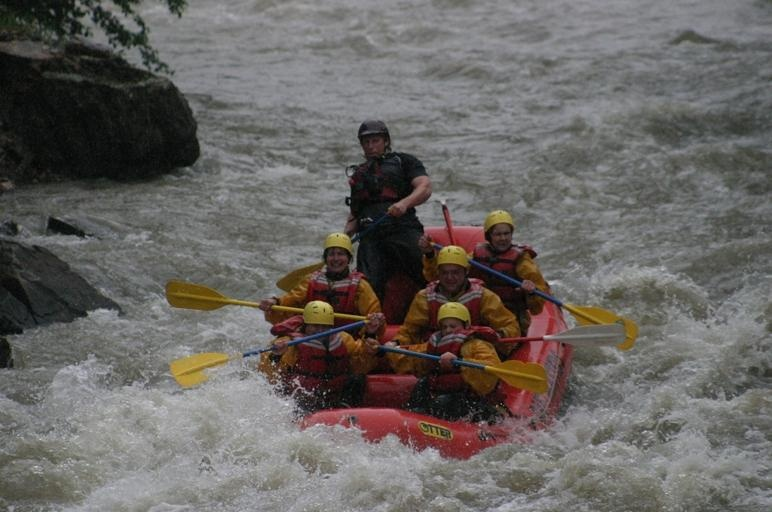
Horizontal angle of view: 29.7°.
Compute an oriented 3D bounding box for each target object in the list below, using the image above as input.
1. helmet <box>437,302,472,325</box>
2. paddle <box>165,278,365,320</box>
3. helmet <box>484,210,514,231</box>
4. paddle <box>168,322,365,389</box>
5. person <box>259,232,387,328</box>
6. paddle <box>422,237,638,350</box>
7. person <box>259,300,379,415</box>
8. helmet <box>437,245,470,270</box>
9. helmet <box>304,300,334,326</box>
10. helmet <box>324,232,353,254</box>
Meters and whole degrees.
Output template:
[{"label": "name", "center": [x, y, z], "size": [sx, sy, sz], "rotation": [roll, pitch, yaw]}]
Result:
[{"label": "helmet", "center": [0.867, 0.730, 17.711], "size": [0.353, 0.250, 0.250], "rotation": [-20, 46, 38]}, {"label": "paddle", "center": [-1.569, 0.715, 19.253], "size": [3.600, 0.138, 0.487], "rotation": [13, 24, -47]}, {"label": "helmet", "center": [1.422, -0.402, 18.575], "size": [0.292, 0.338, 0.282], "rotation": [-2, 51, -7]}, {"label": "paddle", "center": [-1.439, 1.313, 18.029], "size": [2.890, 0.432, 0.192], "rotation": [-12, -10, -7]}, {"label": "person", "center": [-0.786, 0.388, 18.700], "size": [1.199, 0.857, 1.398], "rotation": [4, 71, 16]}, {"label": "paddle", "center": [1.795, 0.576, 18.653], "size": [2.946, 0.318, 0.482], "rotation": [21, 43, 5]}, {"label": "person", "center": [-0.794, 1.325, 17.689], "size": [1.256, 0.819, 1.316], "rotation": [-2, 50, -21]}, {"label": "helmet", "center": [0.822, 0.017, 18.043], "size": [0.276, 0.345, 0.251], "rotation": [1, 42, 10]}, {"label": "helmet", "center": [-0.804, 0.718, 17.642], "size": [0.267, 0.336, 0.240], "rotation": [8, 42, -13]}, {"label": "helmet", "center": [-0.585, -0.151, 18.253], "size": [0.247, 0.308, 0.253], "rotation": [-1, 5, 5]}]
